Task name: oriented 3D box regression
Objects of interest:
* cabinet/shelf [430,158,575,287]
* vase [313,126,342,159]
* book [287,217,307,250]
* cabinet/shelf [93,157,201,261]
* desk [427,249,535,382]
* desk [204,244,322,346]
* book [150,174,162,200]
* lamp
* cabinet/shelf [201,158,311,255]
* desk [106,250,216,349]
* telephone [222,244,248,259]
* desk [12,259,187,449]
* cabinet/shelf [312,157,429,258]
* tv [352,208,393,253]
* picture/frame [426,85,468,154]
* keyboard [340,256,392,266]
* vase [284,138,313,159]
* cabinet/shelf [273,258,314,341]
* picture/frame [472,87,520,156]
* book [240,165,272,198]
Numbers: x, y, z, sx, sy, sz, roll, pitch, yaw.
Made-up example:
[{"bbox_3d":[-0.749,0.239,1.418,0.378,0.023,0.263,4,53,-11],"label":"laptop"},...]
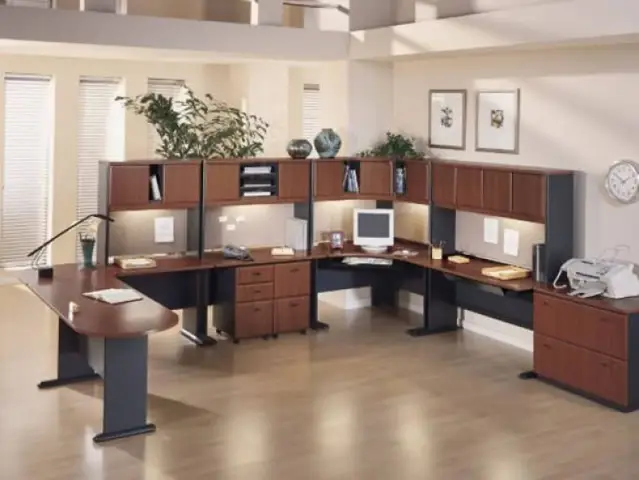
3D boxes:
[{"bbox_3d":[2.115,-0.321,6.436,0.460,1.133,1.906,-7,13,-26],"label":"cabinet/shelf"},{"bbox_3d":[0.059,-1.357,7.451,0.444,0.452,0.434,3,20,16],"label":"vase"},{"bbox_3d":[-0.301,-0.083,7.156,0.154,0.368,0.412,-4,10,-33],"label":"book"},{"bbox_3d":[-2.058,-0.361,6.350,1.367,1.141,0.420,-4,7,-33],"label":"cabinet/shelf"},{"bbox_3d":[1.988,0.807,6.302,0.974,0.793,1.733,-1,7,-27],"label":"desk"},{"bbox_3d":[-0.401,0.830,6.901,1.204,0.899,0.640,-10,-17,29],"label":"desk"},{"bbox_3d":[-1.953,-0.619,6.316,0.126,0.290,0.177,-4,12,-24],"label":"book"},{"bbox_3d":[-2.756,0.055,5.915,1.056,0.653,0.258,-5,-2,3],"label":"lamp"},{"bbox_3d":[-0.856,-0.455,6.892,1.372,1.063,0.369,-4,7,-28],"label":"cabinet/shelf"},{"bbox_3d":[-1.930,0.600,6.700,1.360,0.883,1.056,-3,13,-24],"label":"desk"},{"bbox_3d":[-1.050,0.147,6.609,0.298,0.096,0.171,8,16,18],"label":"telephone"},{"bbox_3d":[-2.008,1.002,4.844,0.793,1.064,2.048,-8,13,-38],"label":"desk"},{"bbox_3d":[0.954,-0.580,7.951,1.146,1.148,1.750,1,9,3],"label":"cabinet/shelf"},{"bbox_3d":[0.750,-0.140,7.365,0.556,0.523,0.298,0,-10,12],"label":"tv"},{"bbox_3d":[1.665,-1.584,6.997,0.036,0.768,0.620,-7,13,-36],"label":"picture/frame"},{"bbox_3d":[0.624,0.285,7.126,0.640,0.116,0.122,1,11,3],"label":"keyboard"},{"bbox_3d":[-0.277,-1.217,7.160,0.310,0.188,0.285,-6,8,-41],"label":"vase"},{"bbox_3d":[-0.540,0.749,6.961,0.721,0.918,0.678,1,3,-15],"label":"cabinet/shelf"},{"bbox_3d":[2.122,-1.423,6.372,0.075,0.935,0.852,-8,12,-34],"label":"picture/frame"},{"bbox_3d":[-0.828,-0.747,6.779,0.453,0.336,0.151,-2,9,-20],"label":"book"}]
